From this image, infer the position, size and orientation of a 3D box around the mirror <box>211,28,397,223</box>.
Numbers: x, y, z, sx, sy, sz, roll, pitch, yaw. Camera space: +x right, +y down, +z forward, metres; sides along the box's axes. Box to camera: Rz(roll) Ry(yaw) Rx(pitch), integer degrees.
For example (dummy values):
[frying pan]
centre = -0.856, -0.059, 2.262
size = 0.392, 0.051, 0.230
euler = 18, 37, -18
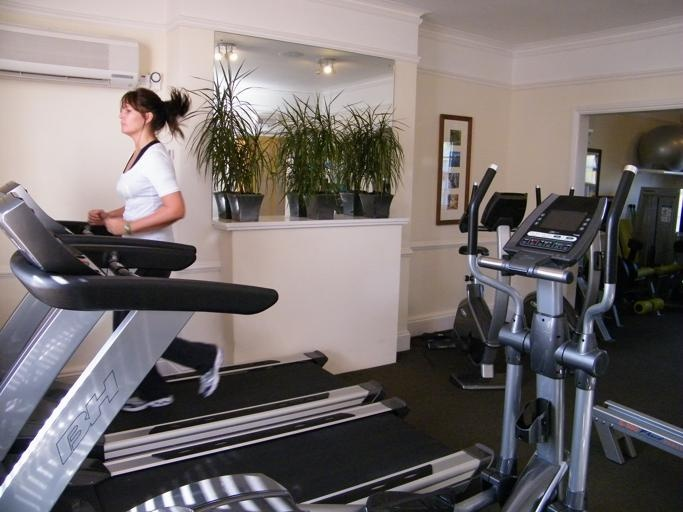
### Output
[mirror]
centre = -0.340, -0.989, 3.863
size = 1.577, 1.673, 0.024
euler = 0, 0, -28

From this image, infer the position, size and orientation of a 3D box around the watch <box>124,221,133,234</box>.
[watch]
centre = -1.196, -0.155, 2.808
size = 0.057, 0.061, 0.050
euler = -1, 5, -16

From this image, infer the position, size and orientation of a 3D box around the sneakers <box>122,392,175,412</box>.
[sneakers]
centre = -1.064, 0.781, 2.807
size = 0.316, 0.124, 0.117
euler = 3, 1, -28
